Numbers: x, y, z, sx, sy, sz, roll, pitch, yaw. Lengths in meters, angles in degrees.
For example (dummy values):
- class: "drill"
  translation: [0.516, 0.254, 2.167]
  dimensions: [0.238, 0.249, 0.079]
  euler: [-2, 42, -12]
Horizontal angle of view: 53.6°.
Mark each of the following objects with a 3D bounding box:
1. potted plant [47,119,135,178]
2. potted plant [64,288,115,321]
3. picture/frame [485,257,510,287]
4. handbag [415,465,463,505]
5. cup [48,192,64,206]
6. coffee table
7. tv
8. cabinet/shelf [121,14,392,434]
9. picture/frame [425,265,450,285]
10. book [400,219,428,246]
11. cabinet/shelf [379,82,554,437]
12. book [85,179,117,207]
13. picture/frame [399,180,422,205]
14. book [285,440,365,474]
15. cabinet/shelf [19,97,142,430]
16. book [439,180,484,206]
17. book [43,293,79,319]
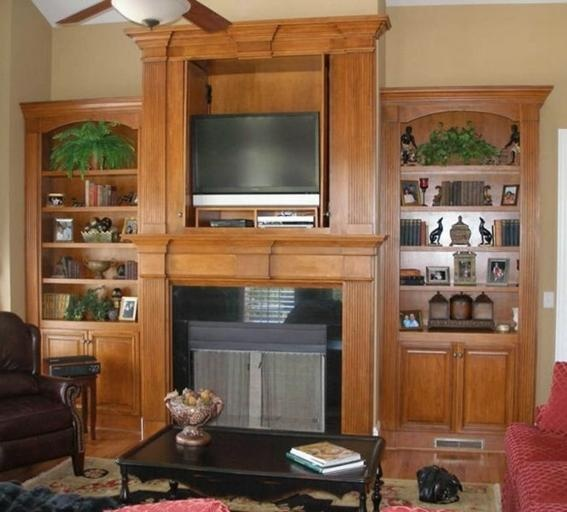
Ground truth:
- class: "potted plant"
  translation: [-1.789, -1.005, 5.325]
  dimensions: [0.718, 0.365, 0.636]
  euler: [0, 13, -5]
- class: "potted plant"
  translation: [-1.800, 0.485, 5.305]
  dimensions: [0.533, 0.332, 0.306]
  euler: [1, -7, -5]
- class: "picture/frame"
  translation: [1.817, 0.142, 4.766]
  dimensions: [0.290, 0.308, 0.047]
  euler: [3, -9, 12]
- class: "handbag"
  translation: [0.994, 1.443, 3.572]
  dimensions: [0.257, 0.156, 0.237]
  euler: [2, -11, 2]
- class: "cup"
  translation: [-2.154, -0.536, 5.303]
  dimensions: [0.151, 0.098, 0.134]
  euler: [-1, 7, -11]
- class: "coffee table"
  translation: [-0.151, 1.164, 3.089]
  dimensions: [1.345, 0.250, 0.687]
  euler: [0, -2, 13]
- class: "tv"
  translation: [-0.193, -0.780, 4.461]
  dimensions: [0.992, 0.547, 0.088]
  euler: [0, 2, 9]
- class: "cabinet/shelf"
  translation: [-0.208, -0.179, 4.424]
  dimensions: [2.011, 3.203, 0.610]
  euler: [1, -2, 10]
- class: "picture/frame"
  translation: [1.337, 0.177, 4.881]
  dimensions: [0.193, 0.129, 0.012]
  euler: [3, -13, 1]
- class: "book"
  translation: [1.078, -0.174, 4.841]
  dimensions: [0.339, 0.259, 0.226]
  euler: [-1, -1, 7]
- class: "cabinet/shelf"
  translation: [1.438, 0.043, 4.592]
  dimensions: [1.331, 2.801, 0.333]
  euler: [1, -2, 6]
- class: "book"
  translation: [-1.731, -0.560, 5.304]
  dimensions: [0.272, 0.274, 0.331]
  euler: [1, 3, 13]
- class: "picture/frame"
  translation: [1.079, -0.540, 4.822]
  dimensions: [0.309, 0.269, 0.024]
  euler: [0, -2, -2]
- class: "book"
  translation: [0.228, 1.036, 2.889]
  dimensions: [0.274, 0.078, 0.349]
  euler: [2, -2, -31]
- class: "cabinet/shelf"
  translation: [-1.749, 0.150, 5.215]
  dimensions: [1.480, 2.757, 0.460]
  euler: [2, 5, 13]
- class: "book"
  translation: [1.498, -0.520, 4.718]
  dimensions: [0.437, 0.239, 0.213]
  euler: [1, 0, 9]
- class: "book"
  translation: [-2.074, 0.465, 5.356]
  dimensions: [0.372, 0.279, 0.243]
  euler: [2, -6, -2]
